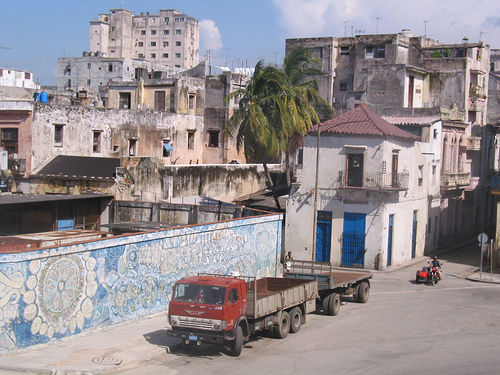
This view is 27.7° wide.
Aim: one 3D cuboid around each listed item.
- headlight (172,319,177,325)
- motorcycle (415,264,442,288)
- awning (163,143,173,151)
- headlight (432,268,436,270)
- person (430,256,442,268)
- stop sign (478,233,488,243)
[{"bbox_3d":[-4.039,7.437,55.661,0.354,0.396,0.207,0,-9,-1],"label":"headlight"},{"bbox_3d":[12.871,6.004,70.284,2.504,1.273,1.412,-10,9,-44],"label":"motorcycle"},{"bbox_3d":[-7.433,-3.672,93.380,0.369,0.717,1.397,-1,1,21],"label":"awning"},{"bbox_3d":[12.902,5.655,69.776,0.246,0.100,0.098,-1,1,-15],"label":"headlight"},{"bbox_3d":[13.168,5.253,70.719,0.608,0.557,0.919,-3,-11,11],"label":"person"},{"bbox_3d":[16.969,3.696,72.583,0.568,0.668,1.652,-1,0,15],"label":"stop sign"}]
